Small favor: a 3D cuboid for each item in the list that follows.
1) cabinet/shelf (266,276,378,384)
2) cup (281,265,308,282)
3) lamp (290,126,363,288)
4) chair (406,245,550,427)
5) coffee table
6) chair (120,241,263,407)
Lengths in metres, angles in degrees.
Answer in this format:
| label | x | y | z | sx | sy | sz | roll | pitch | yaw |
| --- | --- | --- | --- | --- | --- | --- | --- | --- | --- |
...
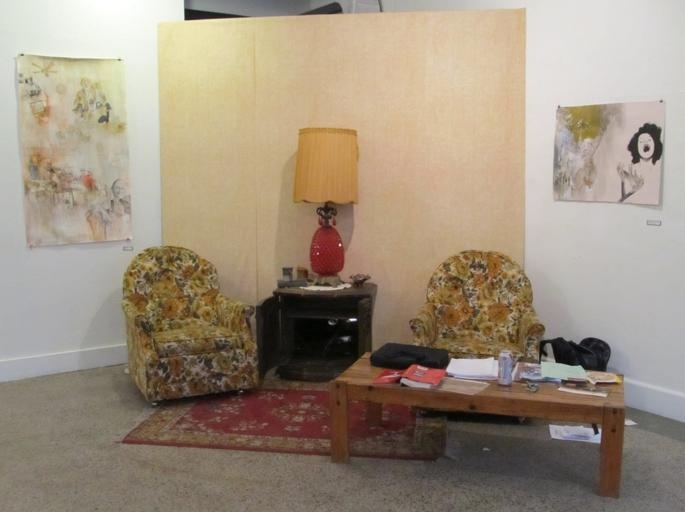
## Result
| label | x | y | z | sx | sy | sz | roll | pitch | yaw |
| --- | --- | --- | --- | --- | --- | --- | --- | --- | --- |
| cabinet/shelf | -0.215 | 0.719 | 4.981 | 0.846 | 0.808 | 0.871 | 3 | 3 | 2 |
| cup | -0.452 | 0.167 | 5.161 | 0.238 | 0.177 | 0.127 | 2 | 5 | 16 |
| lamp | -0.162 | -0.482 | 5.081 | 0.588 | 1.424 | 0.433 | -1 | 11 | -4 |
| chair | 1.083 | 0.617 | 4.410 | 0.968 | 1.269 | 0.727 | 2 | 3 | 18 |
| coffee table | 0.805 | 1.061 | 3.413 | 1.743 | 0.558 | 0.336 | 2 | 11 | 13 |
| chair | -1.379 | 0.527 | 4.743 | 0.984 | 1.177 | 1.089 | -2 | 3 | -37 |
